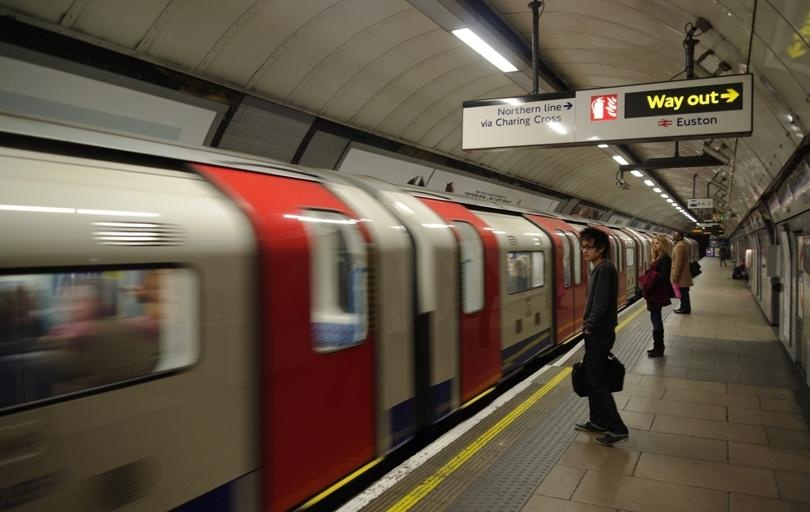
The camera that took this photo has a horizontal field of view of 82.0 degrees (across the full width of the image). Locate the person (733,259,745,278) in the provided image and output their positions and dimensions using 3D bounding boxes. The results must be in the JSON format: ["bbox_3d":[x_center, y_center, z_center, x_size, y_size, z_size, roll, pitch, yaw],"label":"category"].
[{"bbox_3d":[18.113,0.809,25.177,0.425,0.938,2.033,3,5,33],"label":"person"}]

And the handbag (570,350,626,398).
[{"bbox_3d":[2.209,1.388,5.476,0.735,0.594,0.389,1,-3,0],"label":"handbag"}]

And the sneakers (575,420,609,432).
[{"bbox_3d":[2.201,2.008,5.459,0.343,0.112,0.120,2,-1,36],"label":"sneakers"}]

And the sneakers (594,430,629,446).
[{"bbox_3d":[2.312,2.046,5.262,0.418,0.147,0.143,0,1,10],"label":"sneakers"}]
